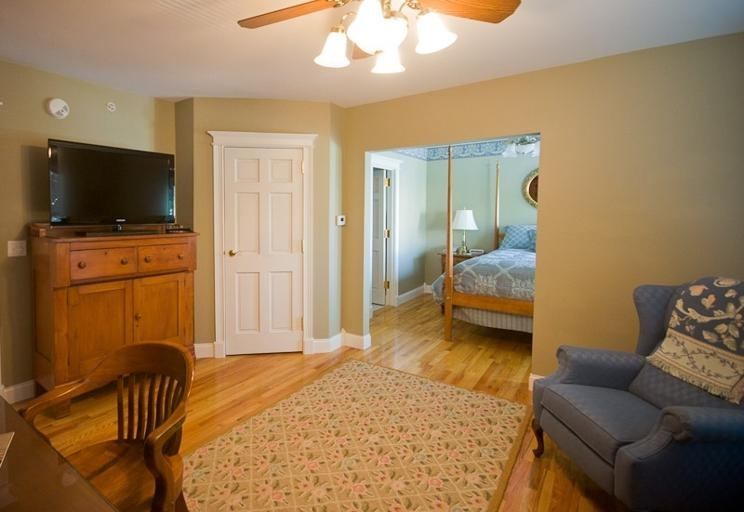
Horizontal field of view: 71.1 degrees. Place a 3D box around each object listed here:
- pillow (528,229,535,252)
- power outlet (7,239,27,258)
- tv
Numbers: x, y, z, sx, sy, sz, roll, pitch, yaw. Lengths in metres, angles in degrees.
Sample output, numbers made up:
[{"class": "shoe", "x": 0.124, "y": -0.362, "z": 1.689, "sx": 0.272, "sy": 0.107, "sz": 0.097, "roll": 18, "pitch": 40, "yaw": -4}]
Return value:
[{"class": "pillow", "x": 2.284, "y": -0.247, "z": 7.464, "sx": 0.091, "sy": 0.283, "sz": 0.211, "roll": 0, "pitch": 10, "yaw": 8}, {"class": "power outlet", "x": -3.175, "y": -0.076, "z": 4.645, "sx": 0.164, "sy": 0.187, "sz": 0.026, "roll": -3, "pitch": 3, "yaw": -45}, {"class": "tv", "x": -2.476, "y": -0.636, "z": 4.856, "sx": 0.110, "sy": 0.723, "sz": 0.995, "roll": 8, "pitch": 7, "yaw": 43}]
